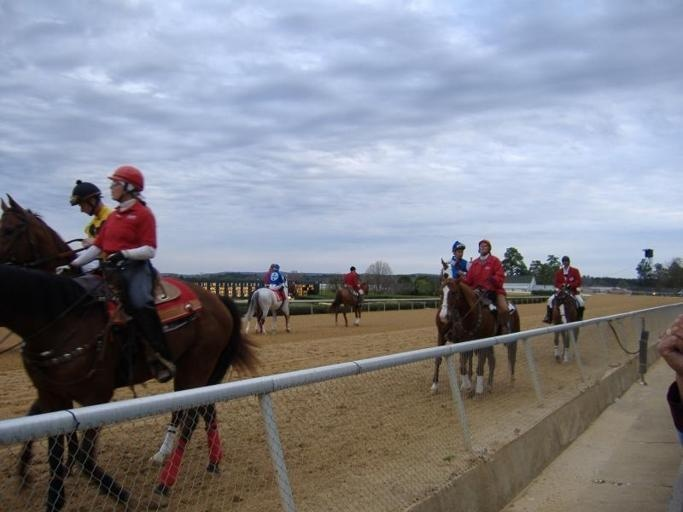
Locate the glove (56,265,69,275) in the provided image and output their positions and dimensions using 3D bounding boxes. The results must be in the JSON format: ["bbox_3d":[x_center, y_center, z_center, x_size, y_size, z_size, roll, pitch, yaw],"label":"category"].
[{"bbox_3d":[-2.457,0.125,4.134,0.125,0.092,0.044,2,41,-53],"label":"glove"}]

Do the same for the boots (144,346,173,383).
[{"bbox_3d":[-1.501,0.874,3.839,0.152,0.263,0.196,-32,-3,9],"label":"boots"}]

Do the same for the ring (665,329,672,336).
[{"bbox_3d":[1.967,0.457,2.830,0.049,0.013,0.036,-33,25,-23],"label":"ring"}]

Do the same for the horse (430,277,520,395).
[{"bbox_3d":[2.420,1.395,8.176,0.735,1.982,3.128,0,-7,40],"label":"horse"}]

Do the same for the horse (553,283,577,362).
[{"bbox_3d":[5.693,1.776,12.020,0.622,1.676,2.637,3,-7,27],"label":"horse"}]

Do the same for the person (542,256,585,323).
[{"bbox_3d":[5.754,0.922,12.279,0.936,1.758,0.922,-2,6,15],"label":"person"}]
